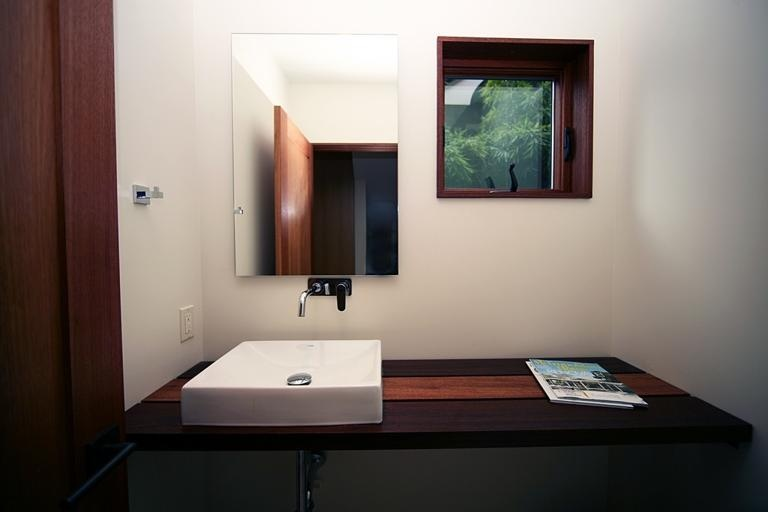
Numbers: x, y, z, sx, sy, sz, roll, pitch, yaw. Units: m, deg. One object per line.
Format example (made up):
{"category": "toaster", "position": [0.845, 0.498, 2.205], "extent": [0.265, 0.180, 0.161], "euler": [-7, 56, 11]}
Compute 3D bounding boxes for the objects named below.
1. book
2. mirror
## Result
{"category": "book", "position": [0.819, 0.519, 2.351], "extent": [0.367, 0.063, 0.405], "euler": [-2, 10, -3]}
{"category": "mirror", "position": [-0.316, -0.503, 2.561], "extent": [1.055, 1.487, 0.027], "euler": [-1, 4, 1]}
